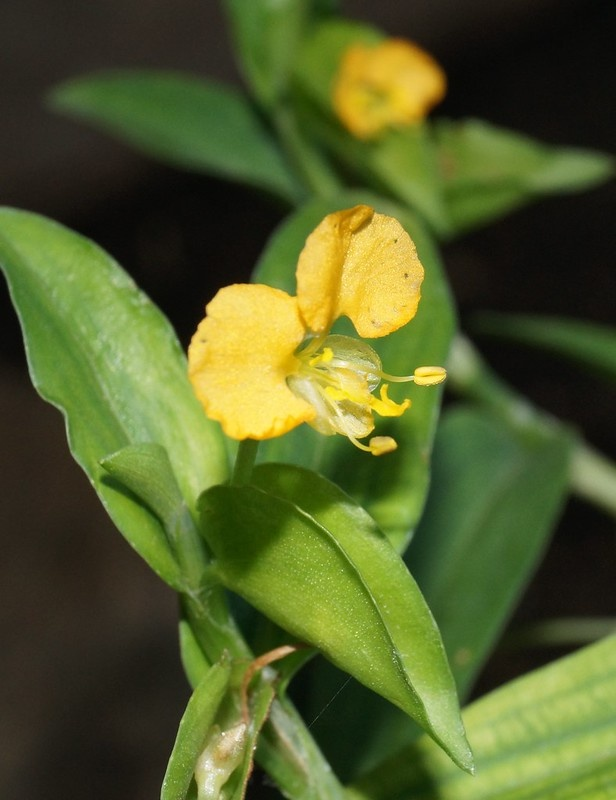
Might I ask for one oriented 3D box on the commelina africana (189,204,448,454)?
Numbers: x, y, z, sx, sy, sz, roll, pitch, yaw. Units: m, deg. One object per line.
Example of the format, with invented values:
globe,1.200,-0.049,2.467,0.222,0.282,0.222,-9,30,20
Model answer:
commelina africana,0.003,-0.034,0.490,0.068,0.167,0.107,19,84,41
